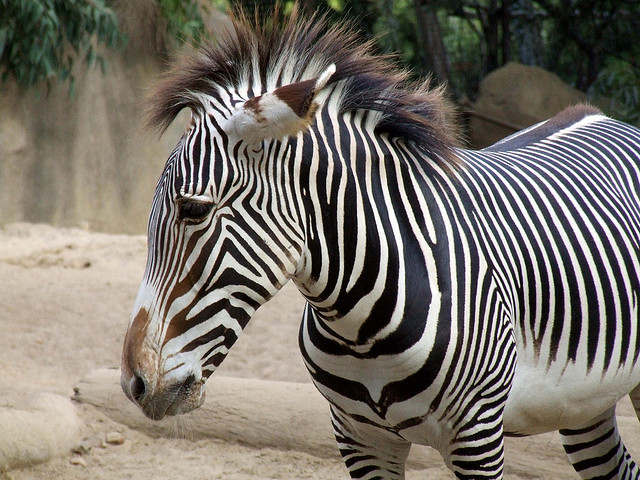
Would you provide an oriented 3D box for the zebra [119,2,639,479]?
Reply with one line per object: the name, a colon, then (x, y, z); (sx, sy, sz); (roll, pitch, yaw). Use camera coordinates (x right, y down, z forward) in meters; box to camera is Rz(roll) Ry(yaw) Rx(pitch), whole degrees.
zebra: (0.135, 0.143, 6.962); (3.872, 3.682, 1.548); (0, -5, -28)
